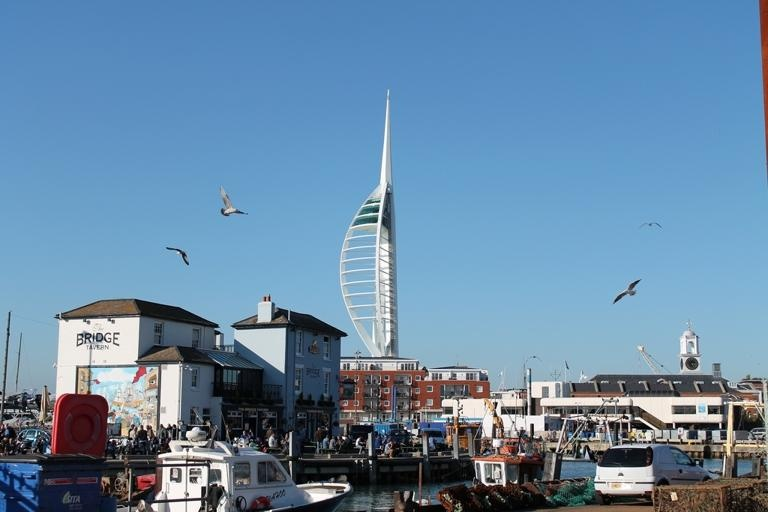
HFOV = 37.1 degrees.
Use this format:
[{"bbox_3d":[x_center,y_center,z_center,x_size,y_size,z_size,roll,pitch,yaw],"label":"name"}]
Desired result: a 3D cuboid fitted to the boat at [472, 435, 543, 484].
[{"bbox_3d":[7.228,11.904,66.462,3.292,2.173,5.325,0,-6,22],"label":"boat"}]
